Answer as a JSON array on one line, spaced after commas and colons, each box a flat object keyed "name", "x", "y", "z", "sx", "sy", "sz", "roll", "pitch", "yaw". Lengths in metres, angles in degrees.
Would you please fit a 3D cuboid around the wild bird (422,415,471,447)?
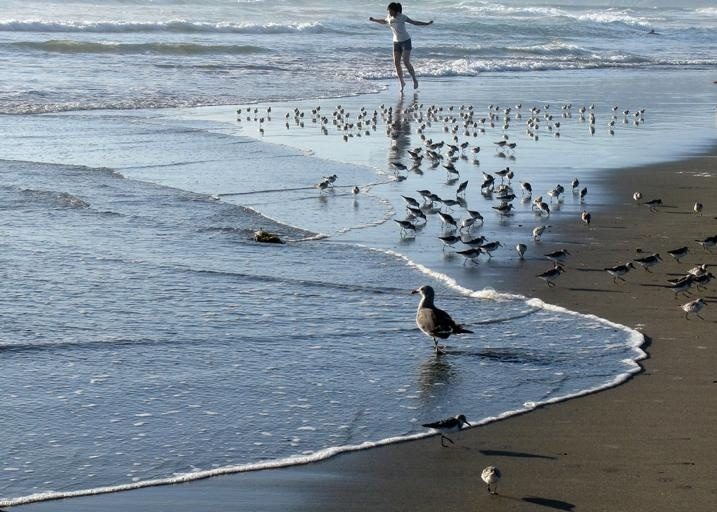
[{"name": "wild bird", "x": 1.221, "y": 2.526, "z": 14.422, "sx": 0.650, "sy": 0.359, "sz": 0.594, "roll": 3, "pitch": 19, "yaw": 18}]

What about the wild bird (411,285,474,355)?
[{"name": "wild bird", "x": 1.355, "y": 1.095, "z": 16.597, "sx": 0.727, "sy": 0.939, "sz": 1.168, "roll": -6, "pitch": 20, "yaw": 1}]
